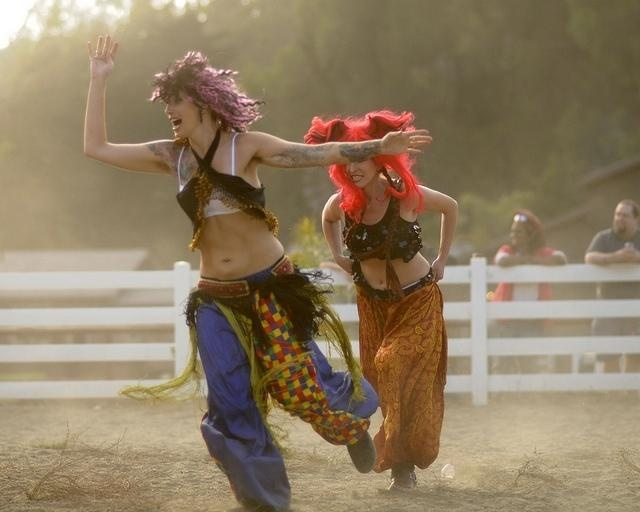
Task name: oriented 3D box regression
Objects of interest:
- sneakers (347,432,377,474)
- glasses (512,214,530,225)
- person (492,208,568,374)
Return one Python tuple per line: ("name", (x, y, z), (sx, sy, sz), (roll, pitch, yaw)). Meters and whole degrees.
("sneakers", (0.488, 2.198, 15.659), (0.255, 0.478, 0.176), (-13, 20, 1))
("glasses", (2.578, -0.499, 18.305), (0.124, 0.131, 0.245), (-11, 18, -36))
("person", (2.680, 0.470, 18.371), (0.923, 2.072, 0.521), (1, 15, 7))
